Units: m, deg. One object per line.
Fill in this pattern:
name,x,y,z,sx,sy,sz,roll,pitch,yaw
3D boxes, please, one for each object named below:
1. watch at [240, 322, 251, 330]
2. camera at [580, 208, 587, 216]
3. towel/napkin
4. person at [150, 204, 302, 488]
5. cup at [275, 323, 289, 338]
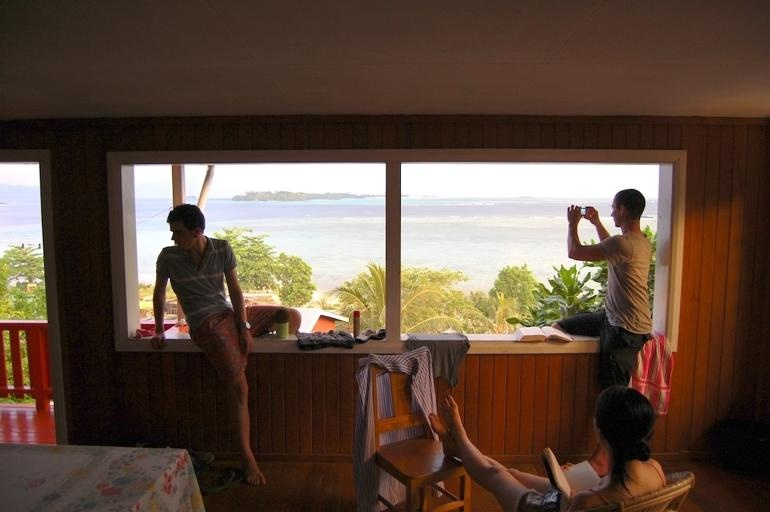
watch,-1.166,0.599,5.095,0.071,0.043,0.063,-1,-22,-45
camera,1.634,-0.359,4.966,0.041,0.052,0.058,7,-3,-24
towel/napkin,2.269,1.017,5.200,0.453,0.607,0.170,6,0,0
person,-1.353,0.723,5.086,1.091,1.711,0.589,-3,2,-21
cup,-0.879,0.651,5.296,0.126,0.131,0.126,1,2,0
